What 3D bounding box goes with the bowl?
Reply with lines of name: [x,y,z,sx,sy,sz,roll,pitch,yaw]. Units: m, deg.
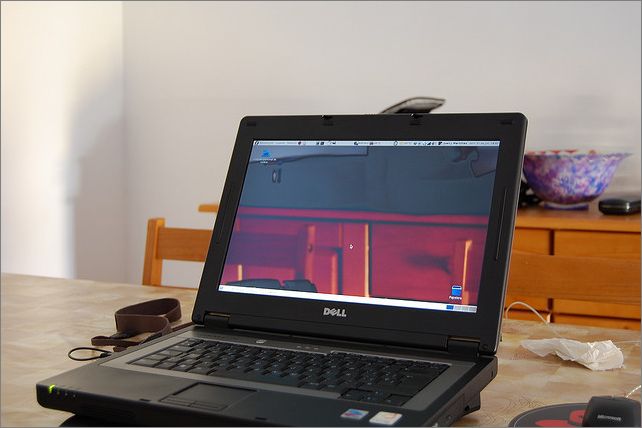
bowl: [0.959,-0.102,2.066,0.417,0.155,0.427,4,-12,1]
